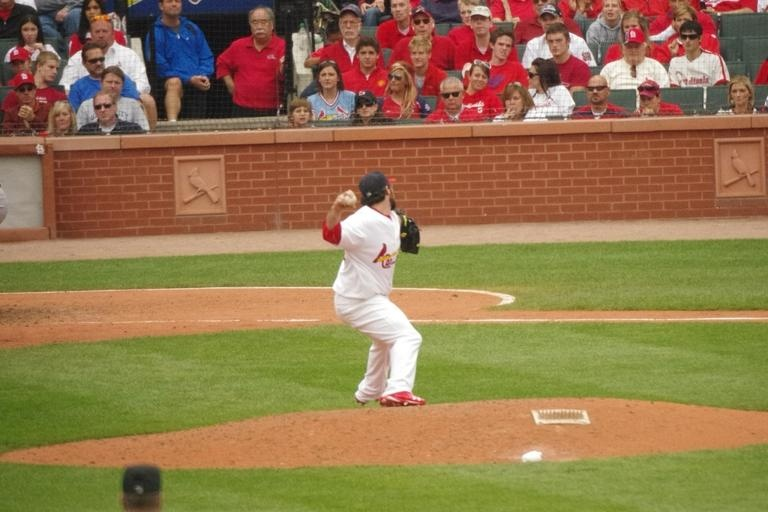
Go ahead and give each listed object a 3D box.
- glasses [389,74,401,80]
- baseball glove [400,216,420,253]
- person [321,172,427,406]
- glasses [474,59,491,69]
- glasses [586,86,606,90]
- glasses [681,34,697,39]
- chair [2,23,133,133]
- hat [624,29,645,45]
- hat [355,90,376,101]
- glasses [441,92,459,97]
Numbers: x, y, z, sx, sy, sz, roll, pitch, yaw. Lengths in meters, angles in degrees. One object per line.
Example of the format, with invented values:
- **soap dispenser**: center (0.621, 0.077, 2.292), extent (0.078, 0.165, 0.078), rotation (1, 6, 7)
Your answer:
- **glasses**: center (0.207, -3.348, 36.631), extent (0.214, 0.085, 0.136), rotation (0, 4, 4)
- **baseball glove**: center (0.403, -0.324, 29.072), extent (0.400, 0.487, 0.201), rotation (14, 3, 11)
- **person**: center (-0.151, 0.478, 28.676), extent (1.320, 3.373, 0.807), rotation (-1, 5, 1)
- **glasses**: center (1.838, -3.621, 36.880), extent (0.249, 0.224, 0.073), rotation (2, 12, -6)
- **glasses**: center (3.954, -3.146, 36.790), extent (0.315, 0.099, 0.148), rotation (0, 5, 10)
- **glasses**: center (5.739, -4.156, 37.042), extent (0.293, 0.124, 0.125), rotation (0, 5, 7)
- **chair**: center (-6.153, -3.273, 37.318), extent (2.090, 1.822, 1.953), rotation (0, -1, 0)
- **hat**: center (4.688, -4.165, 36.939), extent (0.361, 0.312, 0.258), rotation (-1, 5, 0)
- **hat**: center (-0.346, -3.069, 37.062), extent (0.366, 0.159, 0.305), rotation (-1, 4, -1)
- **glasses**: center (1.244, -3.041, 36.899), extent (0.309, 0.124, 0.164), rotation (-1, 4, 0)
